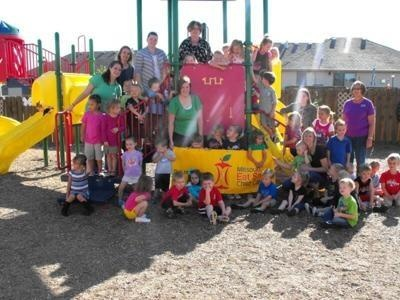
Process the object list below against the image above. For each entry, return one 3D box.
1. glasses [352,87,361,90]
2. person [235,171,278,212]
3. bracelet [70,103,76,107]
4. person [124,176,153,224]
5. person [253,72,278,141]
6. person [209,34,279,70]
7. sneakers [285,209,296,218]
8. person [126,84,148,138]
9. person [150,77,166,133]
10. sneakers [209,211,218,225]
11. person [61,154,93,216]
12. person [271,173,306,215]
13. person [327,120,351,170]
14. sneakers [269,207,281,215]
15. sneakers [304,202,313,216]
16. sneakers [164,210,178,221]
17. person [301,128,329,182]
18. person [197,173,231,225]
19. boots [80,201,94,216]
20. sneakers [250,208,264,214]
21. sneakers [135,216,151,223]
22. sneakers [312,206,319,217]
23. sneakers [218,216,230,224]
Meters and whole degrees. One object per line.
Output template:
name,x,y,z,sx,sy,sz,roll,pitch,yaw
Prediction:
glasses,2.869,-1.140,8.719,0.144,0.055,0.040,4,10,14
person,1.106,0.657,8.434,0.527,0.755,0.731,18,13,39
bracelet,-2.440,-0.886,9.238,0.086,0.100,0.092,0,1,44
person,-1.004,0.776,7.793,0.405,0.747,0.505,7,-1,-26
person,1.275,-0.847,9.179,0.482,1.330,0.467,2,10,6
person,0.960,-1.961,9.648,0.844,0.737,1.874,6,11,26
sneakers,1.524,1.027,7.854,0.179,0.116,0.093,0,10,-5
person,-1.231,-0.734,9.190,0.417,1.099,0.816,0,10,-9
person,-0.829,-0.848,9.249,0.333,1.105,0.508,0,10,-5
sneakers,0.225,1.071,7.544,0.101,0.203,0.079,3,-2,-29
person,-2.053,0.549,7.973,0.561,1.000,0.555,2,3,37
person,1.594,0.696,8.175,0.446,0.747,0.689,14,14,37
person,2.535,-0.101,8.580,0.448,0.888,0.304,3,10,11
sneakers,1.253,1.008,7.934,0.168,0.094,0.079,6,2,-3
sneakers,1.777,0.948,7.849,0.095,0.239,0.076,5,-24,-37
sneakers,-0.481,1.064,7.850,0.102,0.080,0.187,-13,16,-32
person,2.073,0.093,8.547,0.475,0.959,0.434,2,10,8
person,0.219,0.759,7.883,0.509,0.806,0.746,-7,9,-20
boots,-1.909,0.932,8.065,0.187,0.219,0.433,-2,10,-15
sneakers,0.965,1.006,7.979,0.203,0.083,0.150,-5,-7,-13
sneakers,-0.912,1.100,7.633,0.164,0.073,0.106,0,18,3
sneakers,1.902,1.005,7.821,0.078,0.194,0.069,-3,-34,14
sneakers,0.382,1.096,7.574,0.159,0.106,0.084,34,31,-32
